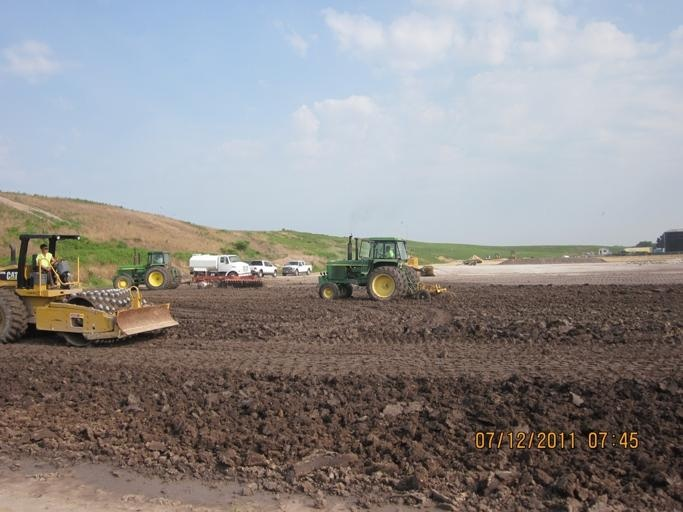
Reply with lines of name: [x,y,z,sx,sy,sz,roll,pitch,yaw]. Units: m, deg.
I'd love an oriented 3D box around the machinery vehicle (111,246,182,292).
machinery vehicle: [-9.113,0.692,28.685,2.789,1.711,1.642,-2,8,6]

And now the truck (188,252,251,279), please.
truck: [-7.350,0.626,36.315,3.026,1.529,1.717,-1,1,6]

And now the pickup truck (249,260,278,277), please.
pickup truck: [-5.606,0.902,42.744,0.920,0.713,2.039,1,2,24]

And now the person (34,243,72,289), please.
person: [-5.938,0.240,12.510,0.840,0.824,0.445,12,4,-6]

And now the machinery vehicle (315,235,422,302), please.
machinery vehicle: [0.935,0.423,20.731,3.200,1.972,1.922,2,3,20]
